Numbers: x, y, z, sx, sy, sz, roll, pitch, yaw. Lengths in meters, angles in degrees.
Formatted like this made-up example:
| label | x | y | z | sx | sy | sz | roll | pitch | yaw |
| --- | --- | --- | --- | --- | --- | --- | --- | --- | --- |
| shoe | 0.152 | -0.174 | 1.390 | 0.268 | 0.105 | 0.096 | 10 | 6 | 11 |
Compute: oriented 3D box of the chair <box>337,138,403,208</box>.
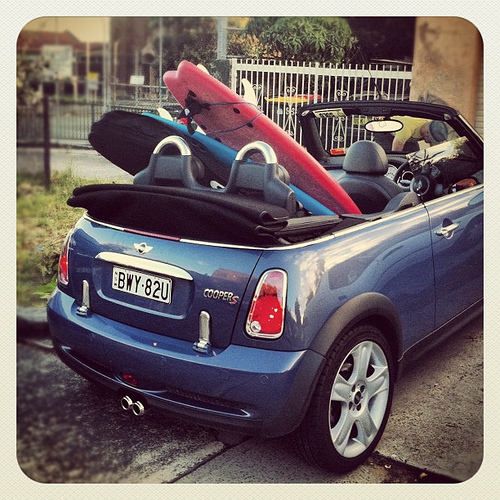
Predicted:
| label | x | y | z | sx | sy | sz | roll | pitch | yaw |
| --- | --- | --- | --- | --- | --- | --- | --- | --- | --- |
| chair | 0.707 | -0.481 | 3.353 | 0.309 | 0.461 | 0.421 | 11 | 20 | 36 |

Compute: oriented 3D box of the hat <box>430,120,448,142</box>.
| label | x | y | z | sx | sy | sz | roll | pitch | yaw |
| --- | --- | --- | --- | --- | --- | --- | --- | --- | --- |
| hat | 1.540 | -0.980 | 4.441 | 0.133 | 0.170 | 0.187 | 0 | 23 | 29 |

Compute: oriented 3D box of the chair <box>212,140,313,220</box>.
| label | x | y | z | sx | sy | sz | roll | pitch | yaw |
| --- | --- | --- | --- | --- | --- | --- | --- | --- | --- |
| chair | -0.004 | -0.363 | 2.736 | 0.403 | 0.368 | 0.155 | 2 | 19 | -25 |

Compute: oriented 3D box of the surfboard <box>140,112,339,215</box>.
| label | x | y | z | sx | sy | sz | roll | pitch | yaw |
| --- | --- | --- | --- | --- | --- | --- | --- | --- | --- |
| surfboard | -0.097 | -0.505 | 3.126 | 1.512 | 0.241 | 0.079 | 39 | 53 | 21 |

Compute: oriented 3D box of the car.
| label | x | y | z | sx | sy | sz | roll | pitch | yaw |
| --- | --- | --- | --- | --- | --- | --- | --- | --- | --- |
| car | 0.394 | -0.178 | 3.021 | 1.336 | 1.210 | 2.628 | 12 | 21 | 34 |
